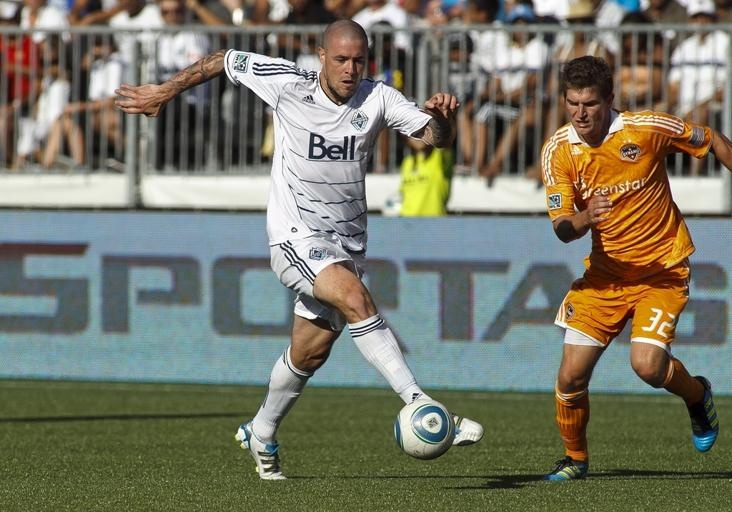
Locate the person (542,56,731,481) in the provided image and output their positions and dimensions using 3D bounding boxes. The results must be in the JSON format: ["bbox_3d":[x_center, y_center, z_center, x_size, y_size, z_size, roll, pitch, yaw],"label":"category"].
[{"bbox_3d":[1.919,0.279,11.036,1.298,2.666,0.500,1,8,6],"label":"person"}]

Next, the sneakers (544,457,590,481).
[{"bbox_3d":[1.495,1.556,11.135,0.339,0.151,0.142,-2,1,-18],"label":"sneakers"}]

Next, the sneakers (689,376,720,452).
[{"bbox_3d":[2.551,1.141,11.276,0.254,0.598,0.200,1,-2,-38],"label":"sneakers"}]
